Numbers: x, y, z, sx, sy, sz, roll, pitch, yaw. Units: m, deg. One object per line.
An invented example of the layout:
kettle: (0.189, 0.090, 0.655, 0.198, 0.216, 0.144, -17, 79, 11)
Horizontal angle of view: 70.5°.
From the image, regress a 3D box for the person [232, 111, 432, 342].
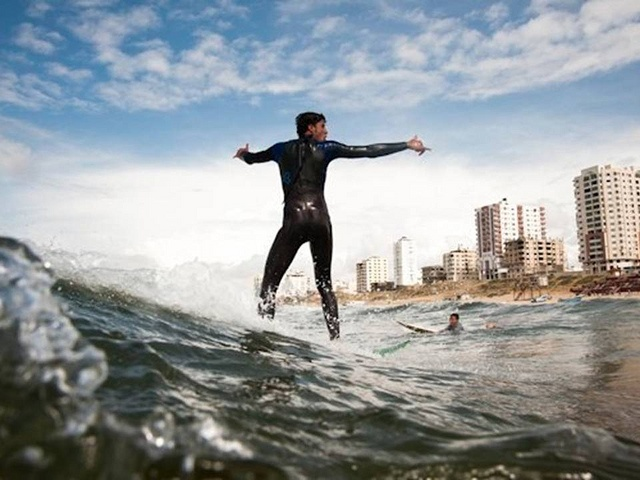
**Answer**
person: (-0.015, -0.184, 5.285, 1.281, 2.666, 0.573, 4, -5, -13)
